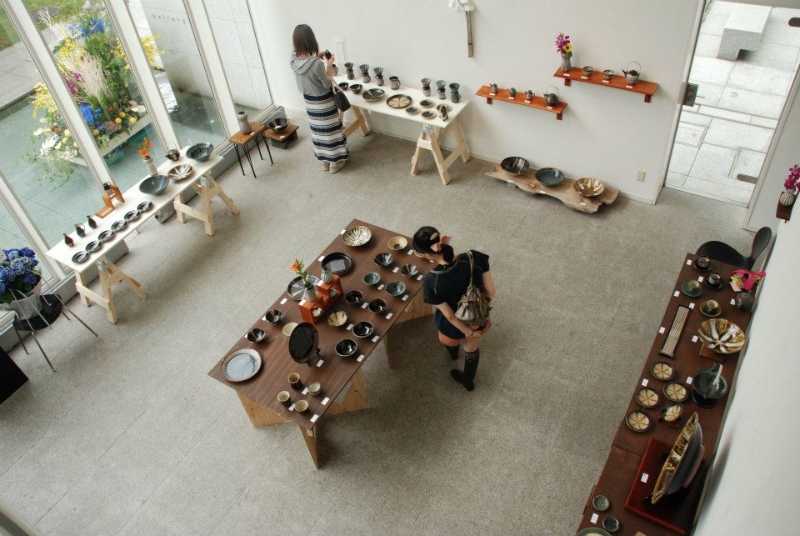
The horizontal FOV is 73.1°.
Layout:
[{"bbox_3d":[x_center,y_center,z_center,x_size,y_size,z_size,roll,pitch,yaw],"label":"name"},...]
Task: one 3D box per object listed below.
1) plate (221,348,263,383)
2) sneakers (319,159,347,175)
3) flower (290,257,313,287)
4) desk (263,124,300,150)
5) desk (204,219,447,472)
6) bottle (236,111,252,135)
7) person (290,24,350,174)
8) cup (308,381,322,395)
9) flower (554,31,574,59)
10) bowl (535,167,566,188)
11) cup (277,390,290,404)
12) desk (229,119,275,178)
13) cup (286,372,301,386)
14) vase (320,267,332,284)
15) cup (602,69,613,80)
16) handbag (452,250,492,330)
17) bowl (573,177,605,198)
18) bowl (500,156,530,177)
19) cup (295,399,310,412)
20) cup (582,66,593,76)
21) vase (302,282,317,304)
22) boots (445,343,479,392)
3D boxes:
[{"bbox_3d":[-1.808,1.112,6.143,0.438,0.104,0.406,-21,46,-16],"label":"plate"},{"bbox_3d":[-1.168,-1.711,9.156,0.209,0.188,0.411,31,55,26],"label":"sneakers"},{"bbox_3d":[-1.294,0.064,6.964,0.169,0.325,0.178,18,89,12],"label":"flower"},{"bbox_3d":[-2.107,-2.335,9.590,0.473,0.238,0.487,22,54,22],"label":"desk"},{"bbox_3d":[-0.862,0.616,6.404,1.330,0.731,2.652,27,52,30],"label":"desk"},{"bbox_3d":[-2.584,-2.386,8.858,0.189,0.325,0.211,-15,43,-10],"label":"bottle"},{"bbox_3d":[-1.251,-2.581,8.504,0.658,2.278,0.398,-12,43,-7],"label":"person"},{"bbox_3d":[-0.949,1.335,5.937,0.160,0.075,0.141,-22,46,-17],"label":"cup"},{"bbox_3d":[2.229,-3.004,7.359,0.273,0.294,0.232,6,44,12],"label":"flower"},{"bbox_3d":[2.311,-1.401,8.332,0.355,0.099,0.361,-4,56,5],"label":"bowl"},{"bbox_3d":[-1.287,1.409,5.900,0.120,0.093,0.125,-2,57,3],"label":"cup"},{"bbox_3d":[-2.605,-2.034,9.308,0.417,0.778,0.666,26,61,17],"label":"desk"},{"bbox_3d":[-1.180,1.232,5.964,0.110,0.103,0.138,-1,58,3],"label":"cup"},{"bbox_3d":[-0.869,0.103,6.335,0.150,0.170,0.163,-4,47,0],"label":"vase"},{"bbox_3d":[2.809,-2.596,7.294,0.117,0.097,0.139,-6,50,9],"label":"cup"},{"bbox_3d":[0.755,0.251,5.795,0.355,0.747,0.365,31,64,25],"label":"handbag"},{"bbox_3d":[2.842,-1.189,8.122,0.456,0.152,0.378,11,46,16],"label":"bowl"},{"bbox_3d":[1.805,-1.604,8.511,0.352,0.153,0.377,-3,43,3],"label":"bowl"},{"bbox_3d":[-1.073,1.508,5.895,0.115,0.080,0.118,-4,68,10],"label":"cup"},{"bbox_3d":[2.562,-2.681,7.397,0.141,0.092,0.168,6,45,12],"label":"cup"},{"bbox_3d":[-1.055,0.307,6.265,0.181,0.213,0.190,5,43,8],"label":"vase"},{"bbox_3d":[0.752,1.229,6.578,0.141,0.539,0.352,-42,70,-14],"label":"boots"}]
